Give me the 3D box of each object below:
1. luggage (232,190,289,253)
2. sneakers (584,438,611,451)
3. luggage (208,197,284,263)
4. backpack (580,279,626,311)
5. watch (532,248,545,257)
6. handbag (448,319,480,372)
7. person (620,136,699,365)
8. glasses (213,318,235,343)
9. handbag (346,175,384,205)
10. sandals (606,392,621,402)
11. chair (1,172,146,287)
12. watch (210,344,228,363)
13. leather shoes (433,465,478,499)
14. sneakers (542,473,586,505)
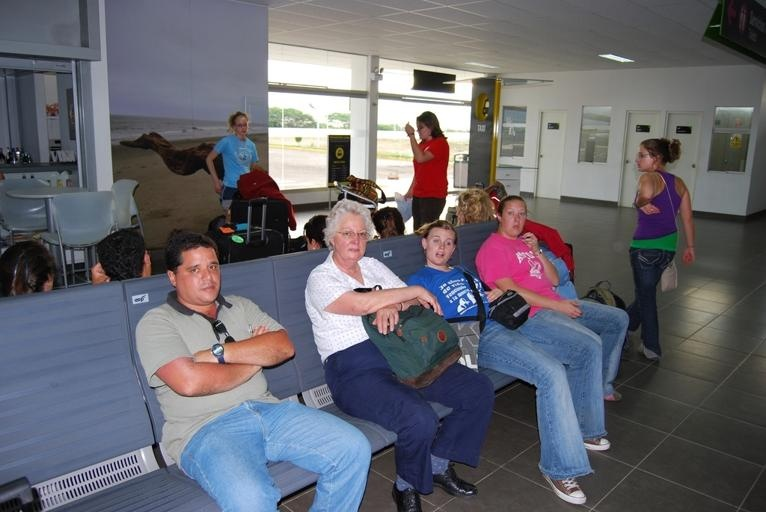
[{"bbox_3d":[-1.280,-0.335,5.129,0.697,0.716,0.234,-4,16,-26],"label":"luggage"},{"bbox_3d":[1.558,1.367,3.551,0.185,0.076,0.095,0,10,34],"label":"sneakers"},{"bbox_3d":[-1.346,-0.316,4.923,0.505,0.805,0.792,1,27,-27],"label":"luggage"},{"bbox_3d":[2.330,0.420,5.185,0.304,0.280,0.198,36,-22,-28],"label":"backpack"},{"bbox_3d":[1.263,-0.031,3.974,0.090,0.053,0.089,2,2,8],"label":"watch"},{"bbox_3d":[0.538,0.608,3.416,0.310,0.280,0.071,3,0,-34],"label":"handbag"},{"bbox_3d":[2.783,-0.097,4.951,0.614,2.108,0.972,8,19,32],"label":"person"},{"bbox_3d":[-0.854,0.405,2.634,0.078,0.140,0.034,-30,5,-27],"label":"glasses"},{"bbox_3d":[-0.318,-0.862,6.994,0.536,0.208,0.399,30,11,31],"label":"handbag"},{"bbox_3d":[1.943,1.199,4.122,0.146,0.055,0.073,7,-6,-40],"label":"sandals"},{"bbox_3d":[-3.271,-0.309,5.143,1.181,1.535,1.146,-10,27,-38],"label":"chair"},{"bbox_3d":[-0.847,0.518,2.564,0.067,0.099,0.098,-13,-17,-26],"label":"watch"},{"bbox_3d":[0.457,1.444,3.185,0.345,0.145,0.137,9,11,22],"label":"leather shoes"},{"bbox_3d":[1.170,1.500,3.158,0.096,0.095,0.248,-7,4,-27],"label":"sneakers"}]
